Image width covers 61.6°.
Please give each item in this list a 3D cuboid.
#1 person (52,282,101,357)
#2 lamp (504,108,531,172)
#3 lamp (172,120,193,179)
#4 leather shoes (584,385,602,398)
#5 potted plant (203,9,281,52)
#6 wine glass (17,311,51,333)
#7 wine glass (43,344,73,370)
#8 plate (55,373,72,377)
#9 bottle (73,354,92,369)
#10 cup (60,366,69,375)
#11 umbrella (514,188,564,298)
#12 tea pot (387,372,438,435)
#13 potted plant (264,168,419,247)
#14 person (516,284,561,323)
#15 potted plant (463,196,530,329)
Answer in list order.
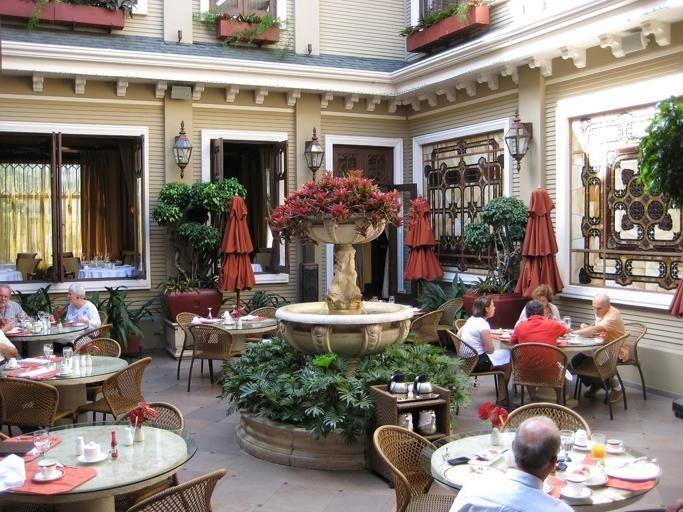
[{"bbox_3d":[-3.537,0.788,7.583,0.631,0.774,0.547,0,6,2],"label":"person"},{"bbox_3d":[2.703,-1.782,8.847,0.349,0.920,0.446,-2,5,-23],"label":"lamp"},{"bbox_3d":[-2.720,-1.826,9.768,0.343,0.851,0.369,8,9,40],"label":"lamp"},{"bbox_3d":[3.180,1.684,7.214,0.102,0.132,0.280,1,4,-1],"label":"leather shoes"},{"bbox_3d":[-1.807,-4.123,10.430,1.454,0.658,0.361,-1,4,-13],"label":"potted plant"},{"bbox_3d":[-3.835,0.831,7.200,0.288,0.127,0.384,2,0,2],"label":"wine glass"},{"bbox_3d":[-2.805,0.965,5.655,0.206,0.249,0.691,1,-1,-22],"label":"wine glass"},{"bbox_3d":[-2.537,1.073,5.237,0.112,0.031,0.076,-2,4,-24],"label":"plate"},{"bbox_3d":[-2.550,1.016,5.620,0.163,0.105,0.129,0,-4,-8],"label":"bottle"},{"bbox_3d":[-2.573,1.044,5.302,0.060,0.057,0.078,0,-6,2],"label":"cup"},{"bbox_3d":[2.827,-0.203,8.151,0.642,1.537,0.331,0,4,13],"label":"umbrella"},{"bbox_3d":[0.606,1.268,4.917,0.502,0.476,0.273,1,-3,-33],"label":"tea pot"},{"bbox_3d":[-0.029,-0.505,5.822,0.990,0.552,0.860,-2,-2,-24],"label":"potted plant"},{"bbox_3d":[2.539,0.580,7.352,0.577,0.808,0.297,0,-4,2],"label":"person"},{"bbox_3d":[2.486,0.170,8.819,1.108,2.135,1.026,1,-1,25],"label":"potted plant"}]
